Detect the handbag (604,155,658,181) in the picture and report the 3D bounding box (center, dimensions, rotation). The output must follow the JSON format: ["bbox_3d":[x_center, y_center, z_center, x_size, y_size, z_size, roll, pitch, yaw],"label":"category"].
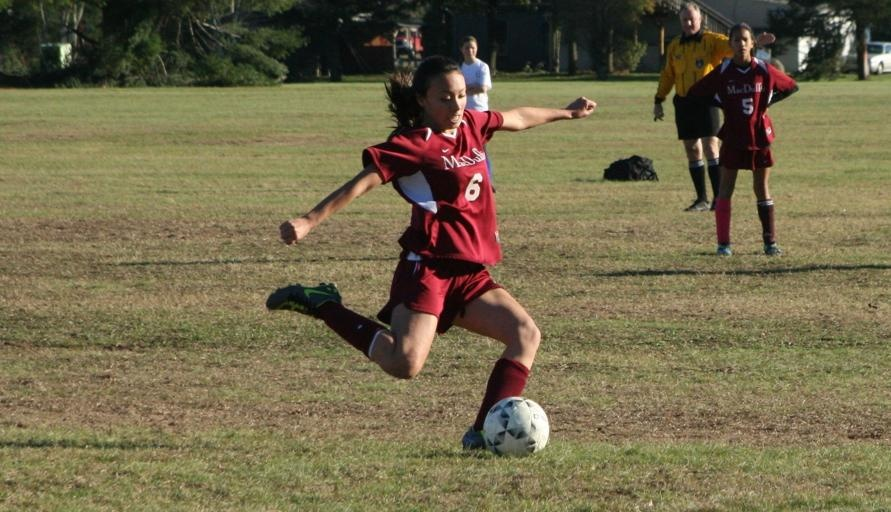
[{"bbox_3d":[5.933,-2.745,58.782,1.657,0.815,0.771,-7,7,-1],"label":"handbag"}]
